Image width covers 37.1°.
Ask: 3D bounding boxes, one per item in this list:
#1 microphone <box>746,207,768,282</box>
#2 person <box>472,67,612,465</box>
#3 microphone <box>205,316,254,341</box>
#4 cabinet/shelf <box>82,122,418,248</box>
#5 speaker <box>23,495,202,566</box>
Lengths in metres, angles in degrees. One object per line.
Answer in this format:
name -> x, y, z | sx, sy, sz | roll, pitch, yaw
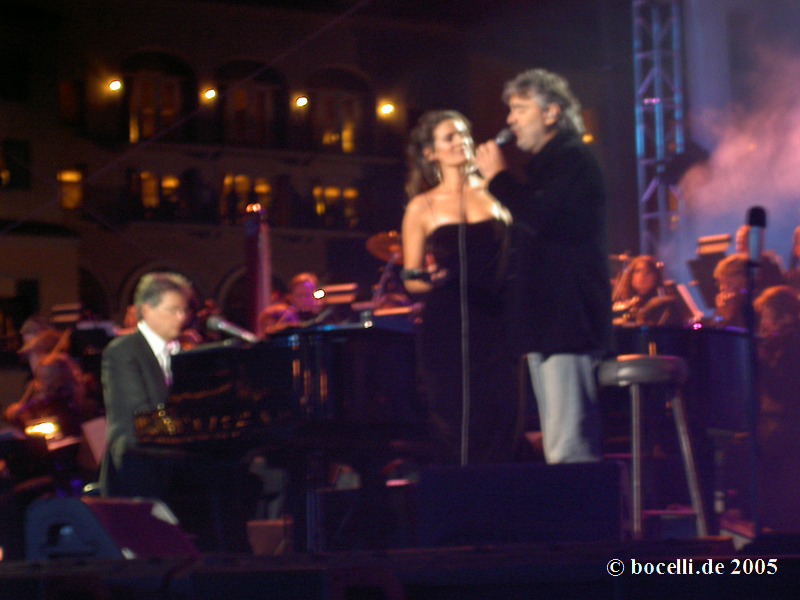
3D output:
microphone -> 2.472, -0.414, 8.223 | 0.136, 0.460, 0.238 | -2, -3, 17
person -> 0.933, -0.246, 7.443 | 0.744, 2.475, 0.415 | -2, -3, 10
microphone -> -1.537, 0.258, 10.755 | 0.165, 0.177, 0.487 | -13, 25, -43
cabinet/shelf -> -2.600, -1.922, 20.152 | 5.656, 1.454, 0.705 | 2, 0, 16
speaker -> -1.649, 1.305, 6.719 | 0.483, 0.250, 0.613 | -4, -14, 8
